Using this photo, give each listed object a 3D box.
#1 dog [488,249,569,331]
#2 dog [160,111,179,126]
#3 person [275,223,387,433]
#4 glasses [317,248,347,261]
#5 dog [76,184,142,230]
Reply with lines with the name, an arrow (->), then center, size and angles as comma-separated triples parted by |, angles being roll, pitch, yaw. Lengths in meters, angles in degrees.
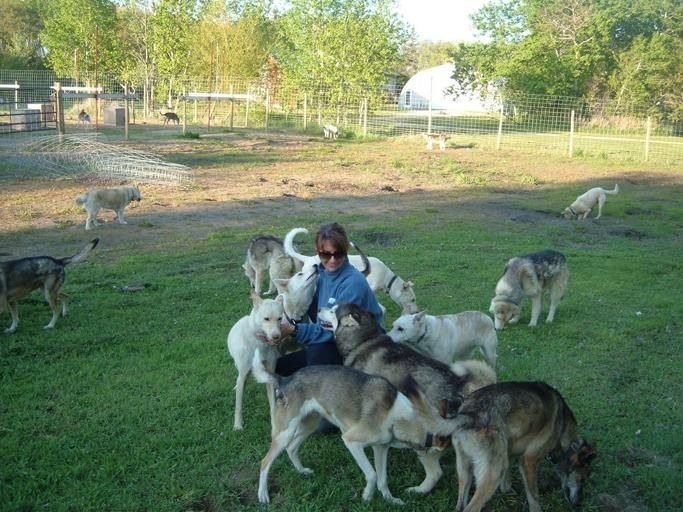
dog -> 2.811, 0.524, 8.342 | 1.882, 1.220, 0.576 | -17, 17, -35
dog -> -11.276, -9.081, 36.254 | 0.918, 0.753, 2.241 | -4, 14, -21
person -> -0.150, 0.685, 5.730 | 1.078, 2.046, 0.765 | 1, 12, 3
glasses -> -0.098, -0.014, 5.607 | 0.275, 0.123, 0.133 | 0, 13, -4
dog -> -5.179, -1.111, 12.225 | 0.776, 0.783, 1.681 | 4, 13, 13
